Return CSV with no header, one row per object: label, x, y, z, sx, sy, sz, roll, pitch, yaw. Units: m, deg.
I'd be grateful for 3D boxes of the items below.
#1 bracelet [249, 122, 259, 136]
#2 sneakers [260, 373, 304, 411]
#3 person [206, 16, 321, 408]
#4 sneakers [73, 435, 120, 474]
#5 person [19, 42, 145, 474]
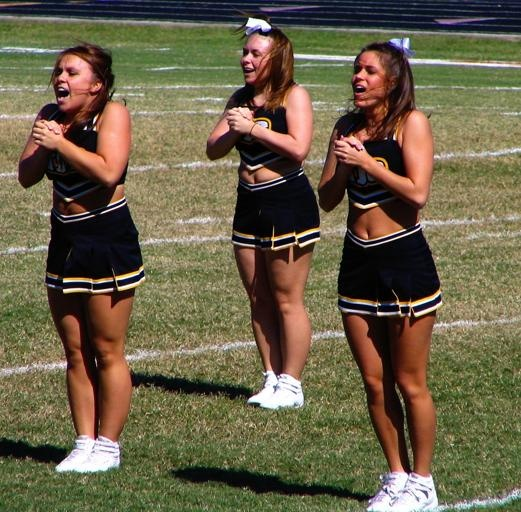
bracelet,-0.032,-0.632,4.355,0.048,0.068,0.025,-1,6,-27
sneakers,0.097,0.717,4.696,0.117,0.173,0.279,18,20,11
person,0.025,-0.231,4.640,0.560,2.007,0.487,2,12,7
sneakers,-0.695,0.852,3.770,0.084,0.112,0.245,5,3,21
person,-0.753,0.007,3.792,0.437,1.802,0.482,-6,13,-27
